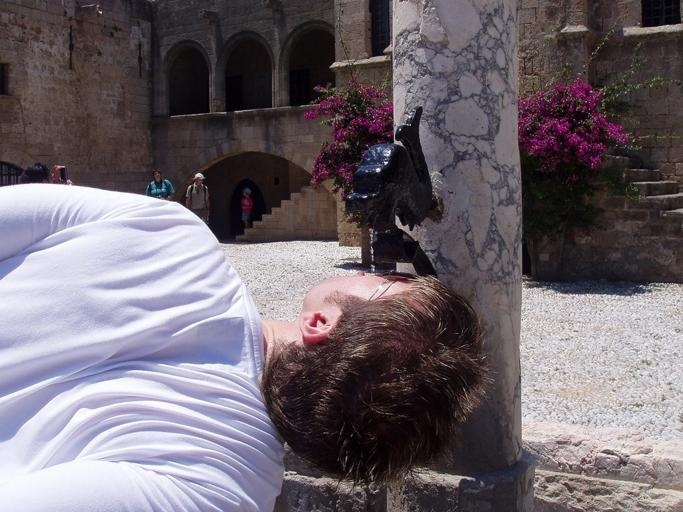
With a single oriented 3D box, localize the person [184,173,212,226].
[{"bbox_3d":[-2.389,-0.810,15.014,0.364,1.136,0.362,-1,-9,-1],"label":"person"}]
